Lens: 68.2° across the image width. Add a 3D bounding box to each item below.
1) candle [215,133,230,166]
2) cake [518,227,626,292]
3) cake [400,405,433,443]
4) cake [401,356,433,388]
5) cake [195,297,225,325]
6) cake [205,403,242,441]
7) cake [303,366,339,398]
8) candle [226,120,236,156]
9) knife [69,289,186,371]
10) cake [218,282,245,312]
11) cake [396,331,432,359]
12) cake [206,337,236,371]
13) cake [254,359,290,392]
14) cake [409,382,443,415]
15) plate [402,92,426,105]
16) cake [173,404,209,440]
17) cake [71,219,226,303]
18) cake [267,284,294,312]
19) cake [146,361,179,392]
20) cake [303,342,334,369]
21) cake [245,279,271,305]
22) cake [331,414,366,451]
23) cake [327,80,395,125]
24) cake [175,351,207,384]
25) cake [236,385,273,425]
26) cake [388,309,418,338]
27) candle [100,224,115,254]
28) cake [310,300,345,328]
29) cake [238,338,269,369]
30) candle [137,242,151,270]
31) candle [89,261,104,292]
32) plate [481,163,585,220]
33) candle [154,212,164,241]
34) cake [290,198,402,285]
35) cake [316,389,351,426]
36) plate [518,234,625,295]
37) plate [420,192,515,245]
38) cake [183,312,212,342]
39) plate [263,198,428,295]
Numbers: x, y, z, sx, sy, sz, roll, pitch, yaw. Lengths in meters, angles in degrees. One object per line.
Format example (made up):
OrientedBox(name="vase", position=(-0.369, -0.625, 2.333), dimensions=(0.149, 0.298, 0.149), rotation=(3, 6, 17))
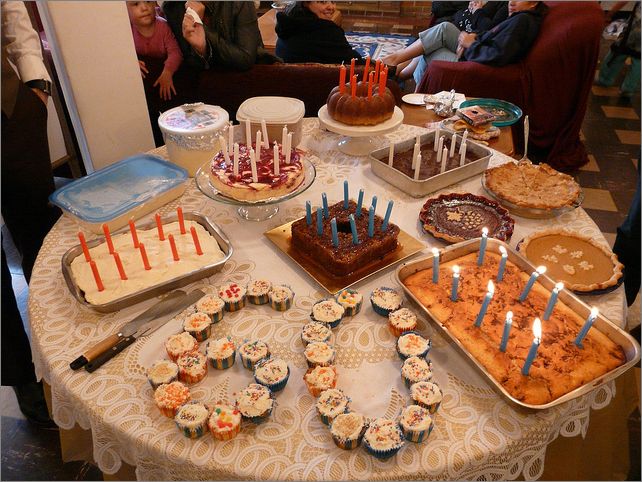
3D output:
OrientedBox(name="candle", position=(-0.569, -0.516, 2.716), dimensions=(0.053, 0.050, 0.240), rotation=(-19, -2, -8))
OrientedBox(name="cake", position=(1.223, 0.098, 2.360), dimensions=(0.460, 0.103, 0.480), rotation=(-1, 36, 3))
OrientedBox(name="cake", position=(0.355, 0.692, 1.795), dimensions=(0.118, 0.083, 0.111), rotation=(-14, 39, -15))
OrientedBox(name="cake", position=(0.388, 0.522, 1.916), dimensions=(0.102, 0.081, 0.112), rotation=(0, 41, 0))
OrientedBox(name="cake", position=(-0.501, 0.293, 2.131), dimensions=(0.105, 0.077, 0.110), rotation=(7, 35, 6))
OrientedBox(name="cake", position=(-0.365, 0.672, 1.785), dimensions=(0.112, 0.072, 0.113), rotation=(35, 51, 26))
OrientedBox(name="cake", position=(0.009, 0.574, 1.915), dimensions=(0.132, 0.089, 0.141), rotation=(-1, 15, 29))
OrientedBox(name="candle", position=(-0.539, -0.598, 2.801), dimensions=(0.050, 0.367, 0.062), rotation=(14, 70, -5))
OrientedBox(name="knife", position=(-0.801, 0.379, 2.170), dimensions=(0.150, 0.055, 0.674), rotation=(29, 48, 27))
OrientedBox(name="cake", position=(-0.412, 0.252, 2.168), dimensions=(0.104, 0.081, 0.113), rotation=(1, 40, -3))
OrientedBox(name="cake", position=(0.396, 0.439, 1.987), dimensions=(0.111, 0.056, 0.108), rotation=(31, 48, 32))
OrientedBox(name="cake", position=(-0.425, 0.473, 2.005), dimensions=(0.139, 0.086, 0.125), rotation=(-11, 31, -20))
OrientedBox(name="cake", position=(-0.201, 0.533, 1.912), dimensions=(0.110, 0.062, 0.120), rotation=(0, 28, -5))
OrientedBox(name="cake", position=(0.412, 0.595, 1.843), dimensions=(0.103, 0.072, 0.110), rotation=(0, 39, -3))
OrientedBox(name="plate", position=(0.804, -1.244, 4.098), dimensions=(0.196, 0.061, 0.291), rotation=(4, 38, 8))
OrientedBox(name="cake", position=(-0.485, 0.667, 1.785), dimensions=(0.109, 0.058, 0.117), rotation=(1, 43, -2))
OrientedBox(name="cake", position=(-0.837, 0.139, 2.322), dimensions=(0.589, 0.102, 0.383), rotation=(-22, 46, -20))
OrientedBox(name="cake", position=(-0.184, 0.261, 2.166), dimensions=(0.100, 0.064, 0.106), rotation=(3, 39, 1))
OrientedBox(name="cake", position=(-0.642, 0.531, 1.915), dimensions=(0.099, 0.089, 0.100), rotation=(29, 44, 31))
OrientedBox(name="cake", position=(-0.007, 0.466, 1.968), dimensions=(0.089, 0.065, 0.102), rotation=(1, 31, 0))
OrientedBox(name="cake", position=(-0.291, 0.233, 2.194), dimensions=(0.094, 0.063, 0.110), rotation=(0, 35, -1))
OrientedBox(name="cake", position=(0.103, 0.710, 1.781), dimensions=(0.125, 0.080, 0.114), rotation=(-31, 46, -32))
OrientedBox(name="cake", position=(0.258, -0.925, 3.165), dimensions=(0.448, 0.158, 0.454), rotation=(-29, 46, -33))
OrientedBox(name="cake", position=(-0.533, 0.531, 1.972), dimensions=(0.123, 0.069, 0.119), rotation=(0, 25, 7))
OrientedBox(name="cake", position=(-0.256, 0.643, 1.862), dimensions=(0.153, 0.089, 0.164), rotation=(6, 23, -2))
OrientedBox(name="cake", position=(0.359, 0.348, 2.071), dimensions=(0.108, 0.071, 0.113), rotation=(-5, 40, 0))
OrientedBox(name="candle", position=(-1.069, -0.007, 2.366), dimensions=(0.038, 0.165, 0.033), rotation=(-23, 57, -20))
OrientedBox(name="cake", position=(0.035, 0.310, 2.121), dimensions=(0.110, 0.060, 0.118), rotation=(-2, 39, -2))
OrientedBox(name="cake", position=(-0.286, 0.459, 1.971), dimensions=(0.101, 0.063, 0.110), rotation=(2, 34, -4))
OrientedBox(name="candle", position=(-0.857, 0.077, 2.283), dimensions=(0.029, 0.146, 0.029), rotation=(-36, 61, -13))
OrientedBox(name="candle", position=(-1.025, 0.179, 2.193), dimensions=(0.030, 0.191, 0.038), rotation=(-31, 50, -33))
OrientedBox(name="plate", position=(1.232, -0.278, 2.785), dimensions=(0.419, 0.125, 0.423), rotation=(-25, 57, -31))
OrientedBox(name="candle", position=(-0.844, -0.069, 2.459), dimensions=(0.029, 0.168, 0.031), rotation=(-20, 58, -23))
OrientedBox(name="cake", position=(0.093, -0.030, 2.374), dimensions=(0.393, 0.121, 0.390), rotation=(-29, 46, -34))
OrientedBox(name="cake", position=(0.041, 0.622, 1.824), dimensions=(0.107, 0.081, 0.117), rotation=(3, 41, 8))
OrientedBox(name="plate", position=(1.234, 0.109, 2.346), dimensions=(0.453, 0.100, 0.471), rotation=(-5, 40, -9))
OrientedBox(name="plate", position=(0.836, -0.147, 2.606), dimensions=(0.452, 0.453, 0.101), rotation=(16, 69, -19))
OrientedBox(name="cake", position=(-0.545, 0.371, 2.065), dimensions=(0.106, 0.076, 0.111), rotation=(3, 40, -2))
OrientedBox(name="plate", position=(0.210, 0.077, 2.329), dimensions=(0.477, 0.056, 0.505), rotation=(-26, 51, -29))
